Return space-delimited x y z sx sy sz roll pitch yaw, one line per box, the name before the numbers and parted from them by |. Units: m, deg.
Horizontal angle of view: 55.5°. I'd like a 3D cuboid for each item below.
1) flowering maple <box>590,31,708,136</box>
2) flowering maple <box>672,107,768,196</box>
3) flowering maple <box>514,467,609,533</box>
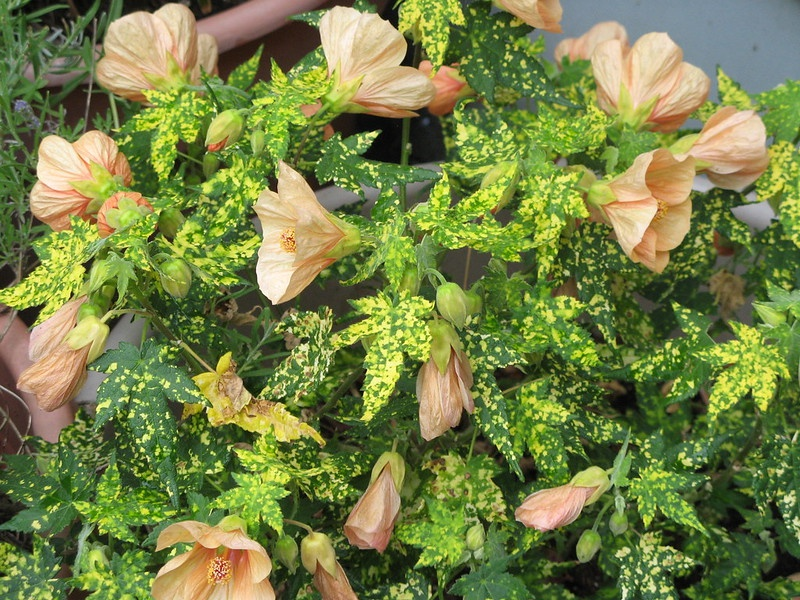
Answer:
flowering maple | 0.265 -0.232 0.857 0.125 0.115 0.118 7 76 36
flowering maple | 0.350 -0.159 0.836 0.118 0.096 0.060 1 64 -6
flowering maple | 0.161 0.197 0.796 0.098 0.046 0.055 -33 88 0
